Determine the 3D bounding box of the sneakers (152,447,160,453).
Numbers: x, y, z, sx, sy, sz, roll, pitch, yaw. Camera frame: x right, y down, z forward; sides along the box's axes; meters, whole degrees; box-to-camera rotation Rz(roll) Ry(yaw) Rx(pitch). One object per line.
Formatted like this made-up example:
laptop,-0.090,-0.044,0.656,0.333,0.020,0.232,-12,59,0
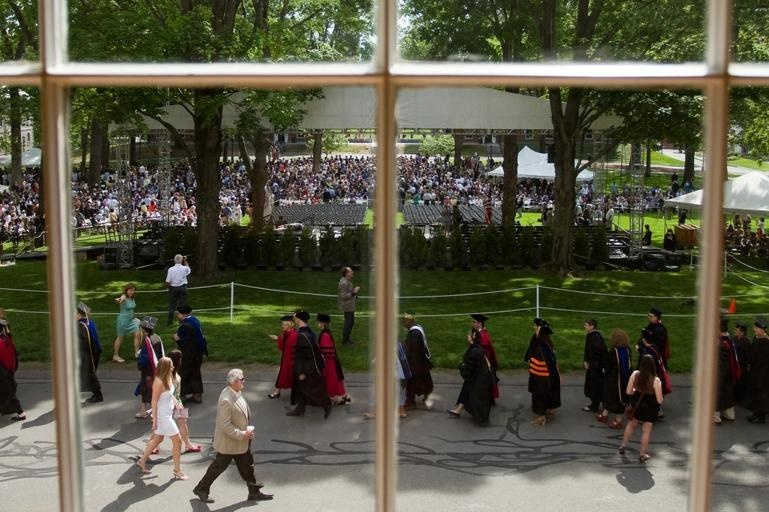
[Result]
sneakers,-4.289,3.619,18.838,0.094,0.092,0.217,0,10,-30

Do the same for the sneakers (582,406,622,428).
sneakers,4.380,3.192,19.917,0.210,0.255,0.637,-14,18,-21

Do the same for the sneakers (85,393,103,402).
sneakers,-5.931,2.898,20.598,0.328,0.269,0.128,4,4,-1

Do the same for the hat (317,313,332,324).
hat,-1.267,1.286,20.437,0.235,0.195,0.281,3,15,3

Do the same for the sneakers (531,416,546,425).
sneakers,3.019,3.220,19.921,0.292,0.180,0.242,-1,6,8

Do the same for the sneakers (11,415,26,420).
sneakers,-7.151,3.126,19.648,0.254,0.105,0.163,-4,6,-22

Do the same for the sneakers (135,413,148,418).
sneakers,-4.824,3.148,19.909,0.231,0.080,0.104,3,1,13

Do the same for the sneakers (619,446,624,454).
sneakers,4.400,3.630,18.834,0.147,0.128,0.081,-3,7,10

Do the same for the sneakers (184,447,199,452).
sneakers,-3.643,3.641,18.929,0.278,0.097,0.094,-2,3,-4

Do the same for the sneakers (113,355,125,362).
sneakers,-6.075,2.338,22.886,0.278,0.098,0.136,2,4,22

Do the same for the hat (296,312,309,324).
hat,-1.658,1.216,20.150,0.296,0.160,0.278,5,-5,11

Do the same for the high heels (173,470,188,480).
high heels,-3.678,3.906,18.053,0.239,0.141,0.251,-4,6,-21

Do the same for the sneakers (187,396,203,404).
sneakers,-3.930,2.958,20.778,0.303,0.114,0.104,8,10,2

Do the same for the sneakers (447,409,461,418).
sneakers,1.367,3.151,20.362,0.191,0.128,0.327,-5,7,-28
